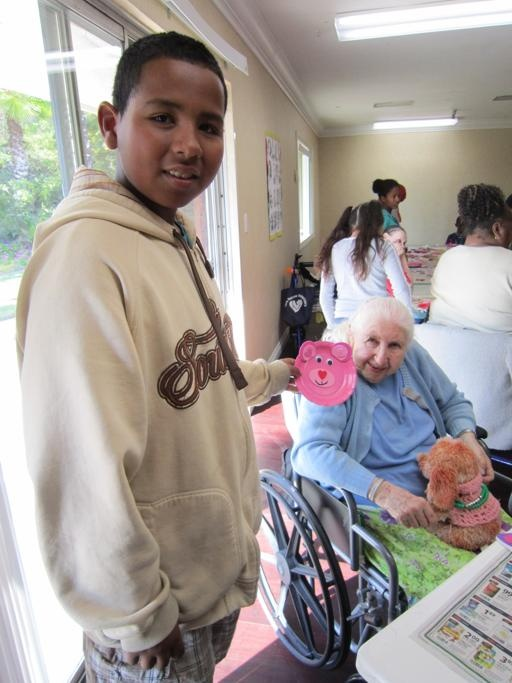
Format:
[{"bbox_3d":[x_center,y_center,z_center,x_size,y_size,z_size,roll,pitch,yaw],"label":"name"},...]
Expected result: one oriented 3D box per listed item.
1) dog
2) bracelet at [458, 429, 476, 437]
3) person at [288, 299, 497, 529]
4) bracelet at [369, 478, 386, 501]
[{"bbox_3d":[0.516,0.360,1.411,0.215,0.248,0.254,-10,19,-25],"label":"dog"},{"bbox_3d":[0.645,0.276,1.616,0.032,0.022,0.031,-5,17,-13],"label":"bracelet"},{"bbox_3d":[0.354,0.101,1.700,0.507,0.773,0.668,-18,17,-34],"label":"person"},{"bbox_3d":[0.305,0.372,1.331,0.014,0.048,0.047,10,-27,0],"label":"bracelet"}]
